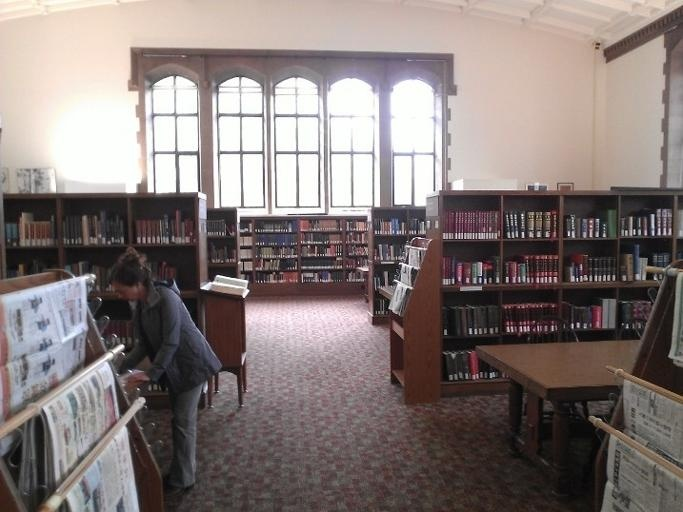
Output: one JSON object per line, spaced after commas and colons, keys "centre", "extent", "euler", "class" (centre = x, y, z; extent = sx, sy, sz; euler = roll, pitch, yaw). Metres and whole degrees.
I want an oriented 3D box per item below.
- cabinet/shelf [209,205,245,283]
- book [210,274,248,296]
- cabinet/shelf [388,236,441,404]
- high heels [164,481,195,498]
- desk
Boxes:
{"centre": [-2.334, -0.208, 10.984], "extent": [0.744, 1.675, 0.843], "euler": [0, 22, -5], "class": "cabinet/shelf"}
{"centre": [-1.216, 0.321, 5.984], "extent": [0.250, 0.096, 0.269], "euler": [14, 7, -3], "class": "book"}
{"centre": [0.842, 0.659, 6.155], "extent": [0.544, 1.746, 0.745], "euler": [-1, 8, -1], "class": "cabinet/shelf"}
{"centre": [-1.298, 1.857, 4.422], "extent": [0.215, 0.089, 0.089], "euler": [-3, 9, -15], "class": "high heels"}
{"centre": [1.800, 1.203, 4.749], "extent": [1.070, 0.898, 1.332], "euler": [-1, 0, -9], "class": "desk"}
